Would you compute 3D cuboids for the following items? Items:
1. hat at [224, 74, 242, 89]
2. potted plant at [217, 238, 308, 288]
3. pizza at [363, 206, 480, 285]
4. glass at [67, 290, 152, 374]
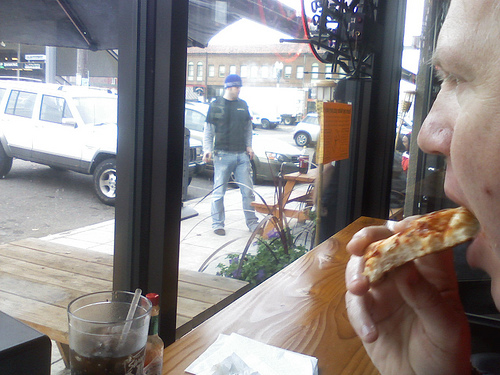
[{"bbox_3d":[-0.088,-0.563,2.279,0.080,0.042,0.058,-6,12,-9],"label":"hat"},{"bbox_3d":[0.068,0.402,2.643,0.268,0.149,0.371,-1,14,29],"label":"potted plant"},{"bbox_3d":[0.261,0.081,0.665,0.143,0.042,0.145,-22,-1,-9],"label":"pizza"},{"bbox_3d":[-0.217,0.223,0.664,0.102,0.153,0.098,19,22,35],"label":"glass"}]
